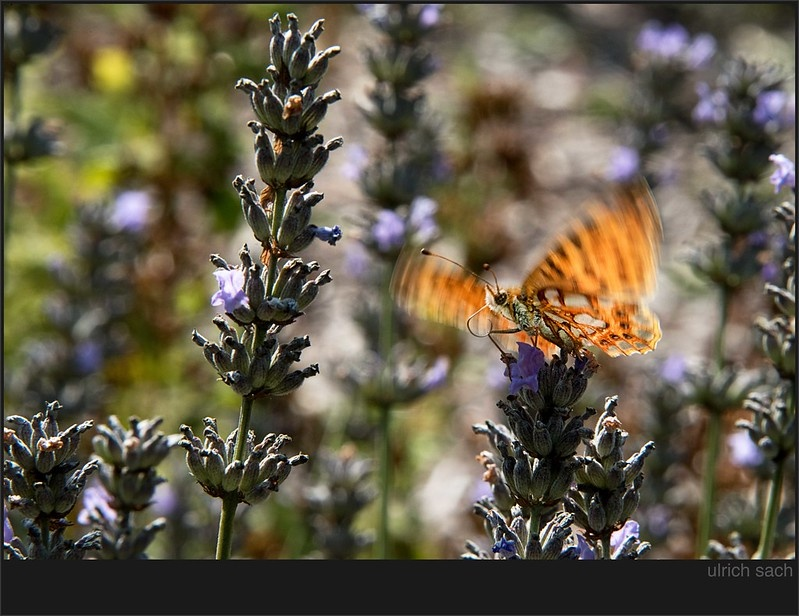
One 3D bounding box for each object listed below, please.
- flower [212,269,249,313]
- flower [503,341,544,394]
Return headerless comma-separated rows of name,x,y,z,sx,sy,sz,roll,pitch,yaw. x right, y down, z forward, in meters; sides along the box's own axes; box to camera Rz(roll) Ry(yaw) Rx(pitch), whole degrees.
flower,-0.876,-0.085,6.391,0.204,0.218,0.100,-2,-1,-17
flower,0.673,0.317,6.562,0.194,0.256,0.091,-6,-21,9
